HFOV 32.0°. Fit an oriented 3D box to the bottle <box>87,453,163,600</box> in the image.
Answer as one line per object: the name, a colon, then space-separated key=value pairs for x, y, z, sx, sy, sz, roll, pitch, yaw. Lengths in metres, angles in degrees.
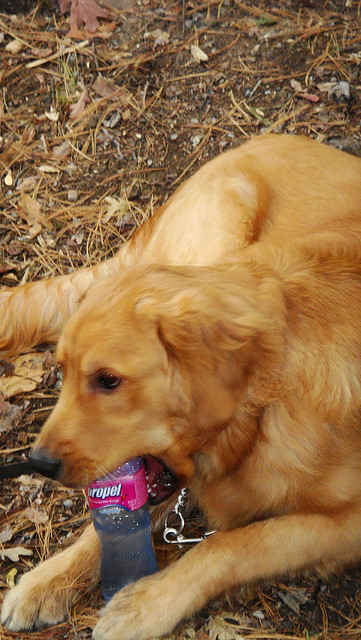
bottle: x=-0.235 y=0.824 z=2.520 sx=0.261 sy=0.712 sz=0.220 roll=-11 pitch=35 yaw=-8
